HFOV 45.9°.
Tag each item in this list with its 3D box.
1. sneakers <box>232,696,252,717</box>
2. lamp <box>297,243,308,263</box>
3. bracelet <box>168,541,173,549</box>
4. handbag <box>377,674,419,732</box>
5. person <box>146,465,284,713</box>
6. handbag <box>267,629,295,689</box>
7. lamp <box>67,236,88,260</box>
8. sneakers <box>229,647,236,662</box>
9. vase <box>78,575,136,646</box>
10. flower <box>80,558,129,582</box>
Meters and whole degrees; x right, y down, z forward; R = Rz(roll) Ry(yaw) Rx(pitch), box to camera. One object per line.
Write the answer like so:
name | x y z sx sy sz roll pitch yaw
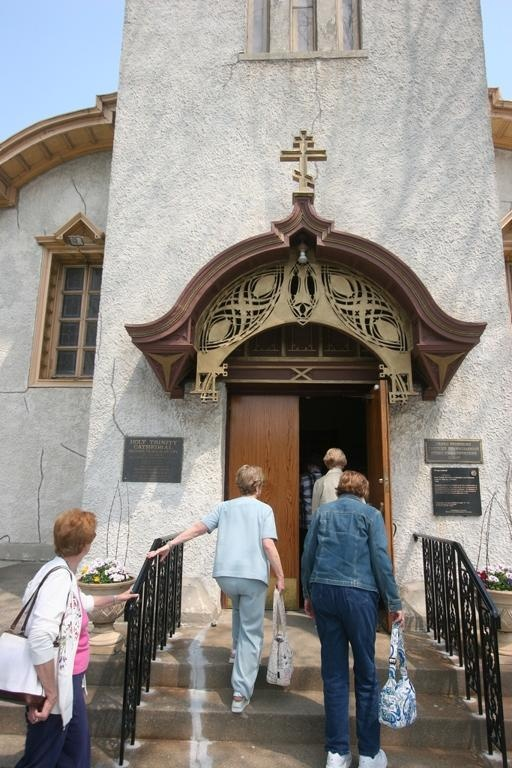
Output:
sneakers | -0.098 2.161 4.077 0.067 0.075 0.193 1 -17 4
lamp | 0.481 -1.314 6.102 0.098 0.200 0.195 1 -13 4
bracelet | -0.582 1.133 4.263 0.046 0.045 0.014 2 7 25
handbag | 0.833 1.882 3.606 0.203 0.270 0.110 0 -14 11
person | -0.145 1.394 4.209 0.670 1.658 0.416 2 -14 2
handbag | 0.169 1.859 4.086 0.162 0.335 0.134 4 -14 -8
lamp | -2.506 -1.945 8.596 0.225 0.314 0.293 8 -5 11
sneakers | -0.163 2.041 4.549 0.047 0.059 0.140 0 -10 3
vase | -1.219 1.891 4.942 0.463 0.515 0.490 -17 -23 41
flower | -1.204 1.535 4.928 0.235 0.082 0.231 9 -10 -41
